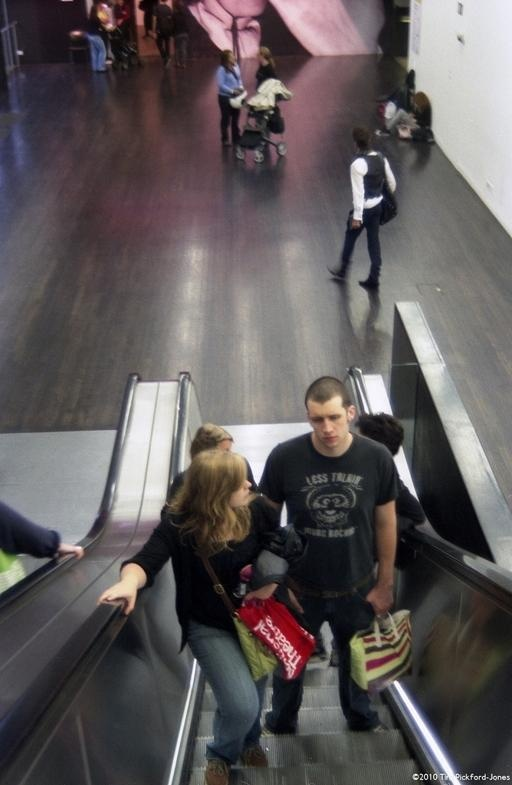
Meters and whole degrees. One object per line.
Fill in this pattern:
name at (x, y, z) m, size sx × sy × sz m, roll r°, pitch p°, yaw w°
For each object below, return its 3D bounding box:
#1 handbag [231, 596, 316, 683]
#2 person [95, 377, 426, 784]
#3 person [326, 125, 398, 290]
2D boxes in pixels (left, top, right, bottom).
handbag at (0.037, 0.800, 1.452) m, size 0.071 × 0.278 × 0.219 m, roll -29°, pitch 10°, yaw 45°
person at (0.024, 0.787, 1.827) m, size 1.375 × 1.855 × 0.559 m, roll -13°, pitch 18°, yaw -36°
person at (1.503, -2.439, 6.094) m, size 0.680 × 2.047 × 0.682 m, roll -5°, pitch 31°, yaw -1°
